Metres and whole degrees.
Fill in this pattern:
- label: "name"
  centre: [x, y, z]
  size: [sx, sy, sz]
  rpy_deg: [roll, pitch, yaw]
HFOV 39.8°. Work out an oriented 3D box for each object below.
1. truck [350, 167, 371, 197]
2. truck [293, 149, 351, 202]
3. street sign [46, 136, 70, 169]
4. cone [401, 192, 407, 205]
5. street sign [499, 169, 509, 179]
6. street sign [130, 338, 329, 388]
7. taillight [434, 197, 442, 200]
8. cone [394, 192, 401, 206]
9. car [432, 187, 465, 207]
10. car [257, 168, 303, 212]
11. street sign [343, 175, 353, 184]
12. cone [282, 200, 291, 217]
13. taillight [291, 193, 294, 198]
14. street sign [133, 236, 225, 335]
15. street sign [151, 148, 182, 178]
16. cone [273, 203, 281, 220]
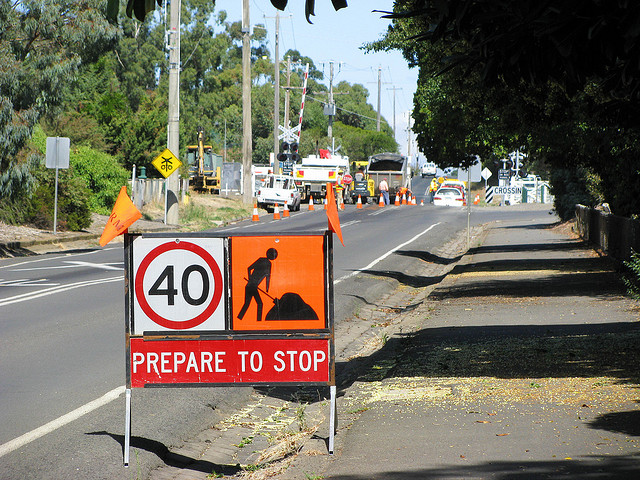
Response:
- label: "truck"
  centre: [2.768, -4.211, 60.678]
  size: [1.237, 2.777, 4.365]
  rpy_deg: [-1, 8, 3]
- label: "truck"
  centre: [-0.065, -4.507, 56.895]
  size: [2.638, 2.670, 4.939]
  rpy_deg: [-1, 0, 4]
- label: "street sign"
  centre: [-8.072, -2.727, 27.472]
  size: [0.693, 0.936, 0.602]
  rpy_deg: [-4, 6, -20]
- label: "cone"
  centre: [5.585, -2.731, 58.536]
  size: [0.548, 0.911, 0.608]
  rpy_deg: [0, -3, 2]
- label: "street sign"
  centre: [12.702, -4.567, 61.180]
  size: [0.602, 0.641, 1.103]
  rpy_deg: [-1, 6, 8]
- label: "street sign"
  centre: [-0.926, 1.240, 9.155]
  size: [2.015, 0.527, 0.036]
  rpy_deg: [-2, 5, 0]
- label: "taillight"
  centre: [7.045, -2.515, 53.024]
  size: [0.371, 0.132, 0.130]
  rpy_deg: [-2, 6, 5]
- label: "cone"
  centre: [4.983, -2.519, 55.593]
  size: [0.555, 0.922, 0.599]
  rpy_deg: [0, -1, -10]
- label: "car"
  centre: [7.734, -2.579, 53.233]
  size: [1.790, 0.995, 1.568]
  rpy_deg: [0, 6, 15]
- label: "car"
  centre: [-2.155, -2.684, 47.802]
  size: [1.345, 1.841, 3.689]
  rpy_deg: [0, 1, 8]
- label: "street sign"
  centre: [1.798, -3.951, 57.216]
  size: [0.472, 0.620, 1.145]
  rpy_deg: [-1, 6, 11]
- label: "cone"
  centre: [-1.697, -1.475, 43.896]
  size: [0.490, 0.804, 0.545]
  rpy_deg: [0, -5, -5]
- label: "taillight"
  centre: [-1.430, -2.406, 47.381]
  size: [0.140, 0.314, 0.156]
  rpy_deg: [1, 7, 8]
- label: "street sign"
  centre: [-1.432, 0.453, 9.108]
  size: [0.910, 0.990, 0.081]
  rpy_deg: [-2, 5, -1]
- label: "street sign"
  centre: [-5.597, -2.861, 32.865]
  size: [0.980, 1.057, 0.806]
  rpy_deg: [-2, 5, -2]
- label: "cone"
  centre: [-1.970, -1.309, 41.304]
  size: [0.519, 0.851, 0.569]
  rpy_deg: [-1, -2, -5]
